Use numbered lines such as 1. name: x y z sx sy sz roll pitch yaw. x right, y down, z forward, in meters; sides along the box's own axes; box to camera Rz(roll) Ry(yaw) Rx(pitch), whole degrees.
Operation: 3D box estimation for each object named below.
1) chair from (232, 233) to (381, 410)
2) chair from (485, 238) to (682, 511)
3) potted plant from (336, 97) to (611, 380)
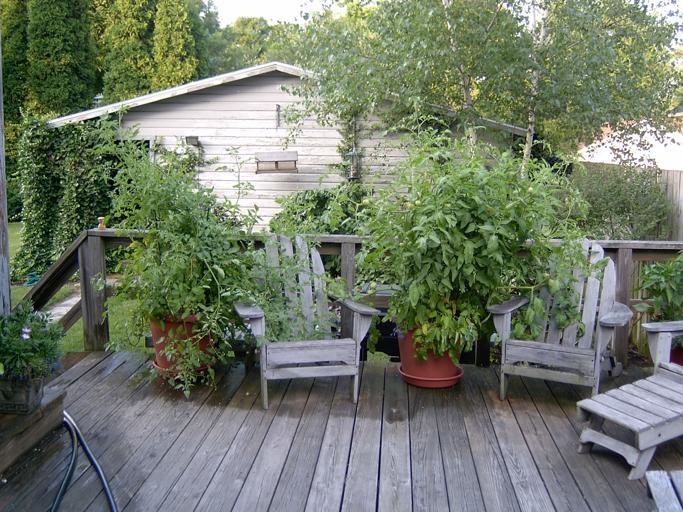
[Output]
1. chair: -0.254 0.416 3.736 0.850 1.087 1.113 1 5 -4
2. chair: 1.529 0.460 3.519 1.120 1.098 0.702 -5 9 -35
3. potted plant: 1.104 0.058 3.764 0.984 1.267 1.149 6 -14 10
